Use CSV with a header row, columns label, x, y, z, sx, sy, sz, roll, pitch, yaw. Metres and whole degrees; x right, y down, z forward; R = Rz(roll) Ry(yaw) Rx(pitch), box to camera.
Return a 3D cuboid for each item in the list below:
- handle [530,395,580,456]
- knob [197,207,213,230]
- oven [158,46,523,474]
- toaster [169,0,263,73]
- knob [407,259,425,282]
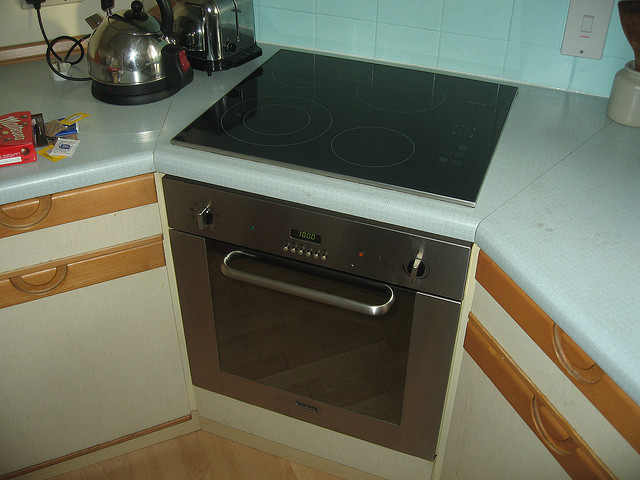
label,x,y,z,sx,sy,sz,roll,pitch,yaw
handle,0.497,0.386,1.102,0.015,0.110,0.150,-19,69,-19
knob,-0.314,-0.058,1.397,0.044,0.054,0.027,16,36,17
oven,0.061,0.118,1.678,0.875,1.038,0.655,16,36,17
toaster,-0.334,-0.653,1.728,0.244,0.197,0.262,28,50,19
knob,0.232,0.065,1.279,0.039,0.039,0.054,12,58,17
